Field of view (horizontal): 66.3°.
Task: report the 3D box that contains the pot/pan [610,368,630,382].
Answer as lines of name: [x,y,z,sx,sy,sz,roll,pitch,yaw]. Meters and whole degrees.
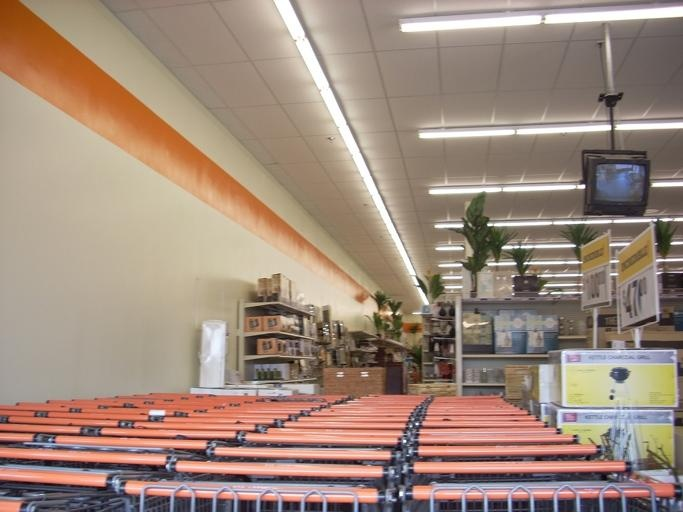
pot/pan: [1.465,0.625,2.744,0.092,0.050,0.082,0,1,26]

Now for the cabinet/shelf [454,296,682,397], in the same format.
cabinet/shelf: [2.058,0.822,4.874,2.316,1.340,0.617,0,-12,4]

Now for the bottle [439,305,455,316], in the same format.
bottle: [1.685,0.870,8.335,0.245,0.193,0.094,1,-11,-9]

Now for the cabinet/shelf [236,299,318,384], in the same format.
cabinet/shelf: [-1.186,1.513,9.193,0.796,1.566,2.072,-5,-10,15]
